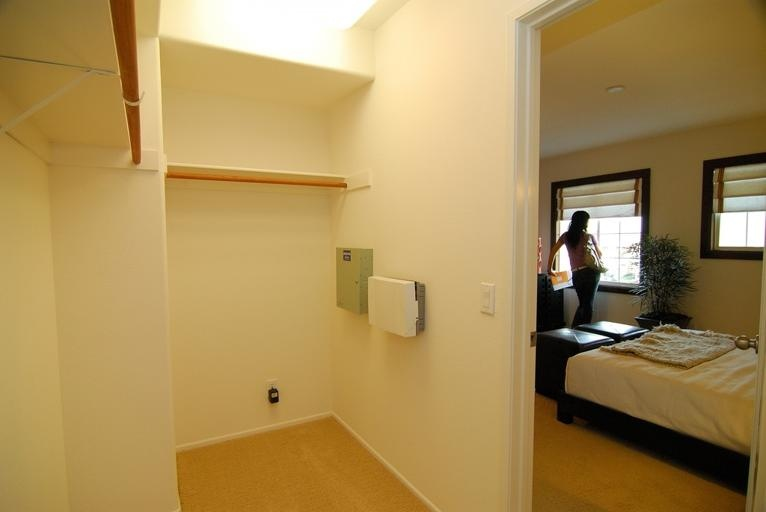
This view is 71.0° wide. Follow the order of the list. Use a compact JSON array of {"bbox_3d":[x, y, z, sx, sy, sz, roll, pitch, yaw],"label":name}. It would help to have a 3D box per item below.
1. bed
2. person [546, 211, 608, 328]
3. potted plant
[{"bbox_3d":[1.907,0.790,3.806,1.201,0.487,1.132,-8,10,-35],"label":"bed"},{"bbox_3d":[2.274,0.139,6.165,0.501,1.335,0.567,1,4,-16],"label":"person"},{"bbox_3d":[3.007,0.269,5.772,0.275,1.005,0.681,2,3,-13],"label":"potted plant"}]
